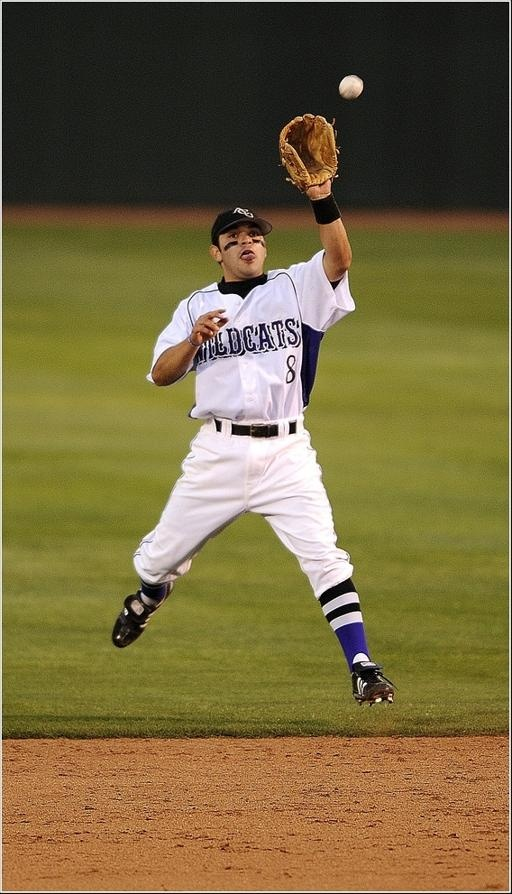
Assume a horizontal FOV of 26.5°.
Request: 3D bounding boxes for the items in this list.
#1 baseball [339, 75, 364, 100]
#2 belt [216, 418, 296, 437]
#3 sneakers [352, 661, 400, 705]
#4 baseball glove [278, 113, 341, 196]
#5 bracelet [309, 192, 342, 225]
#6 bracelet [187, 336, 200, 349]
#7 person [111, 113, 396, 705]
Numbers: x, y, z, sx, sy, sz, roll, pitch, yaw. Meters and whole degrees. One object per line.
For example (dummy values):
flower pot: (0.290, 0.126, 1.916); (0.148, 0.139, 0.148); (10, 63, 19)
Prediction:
baseball: (0.418, -1.574, 4.740); (0.077, 0.114, 0.255); (1, 10, 10)
belt: (0.004, -0.082, 4.736); (0.375, 0.073, 0.142); (-1, 10, -4)
sneakers: (0.452, 0.922, 4.262); (0.096, 0.130, 0.256); (-3, -11, -11)
baseball glove: (0.214, -1.206, 4.489); (0.240, 0.321, 0.257); (0, 10, 2)
bracelet: (0.280, -0.955, 4.471); (0.121, 0.131, 0.130); (-21, 17, 19)
bracelet: (-0.259, -0.430, 4.485); (0.042, 0.053, 0.046); (-3, 18, 4)
person: (0.026, -0.203, 4.710); (0.715, 2.371, 1.564); (-9, 13, -39)
